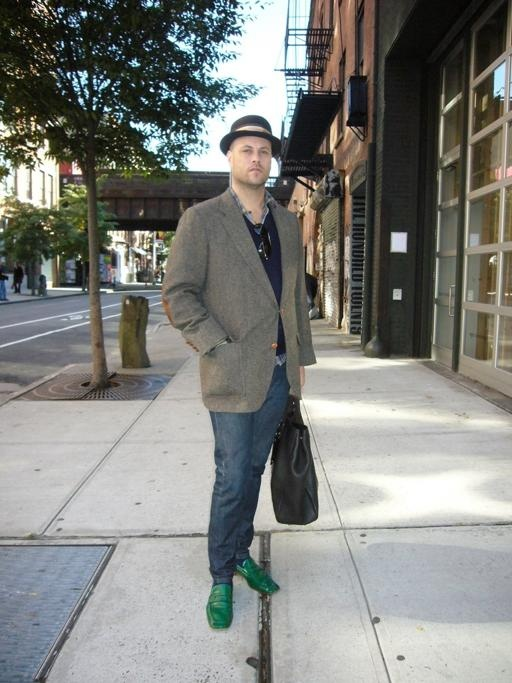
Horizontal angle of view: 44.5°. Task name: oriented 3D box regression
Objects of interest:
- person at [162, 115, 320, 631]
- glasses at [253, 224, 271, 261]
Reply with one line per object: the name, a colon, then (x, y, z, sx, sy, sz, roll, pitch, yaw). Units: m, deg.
person: (-0.049, 0.061, 2.500, 0.377, 1.894, 0.705, 4, 7, 40)
glasses: (0.030, -0.384, 2.438, 0.062, 0.135, 0.030, -2, -7, -10)
